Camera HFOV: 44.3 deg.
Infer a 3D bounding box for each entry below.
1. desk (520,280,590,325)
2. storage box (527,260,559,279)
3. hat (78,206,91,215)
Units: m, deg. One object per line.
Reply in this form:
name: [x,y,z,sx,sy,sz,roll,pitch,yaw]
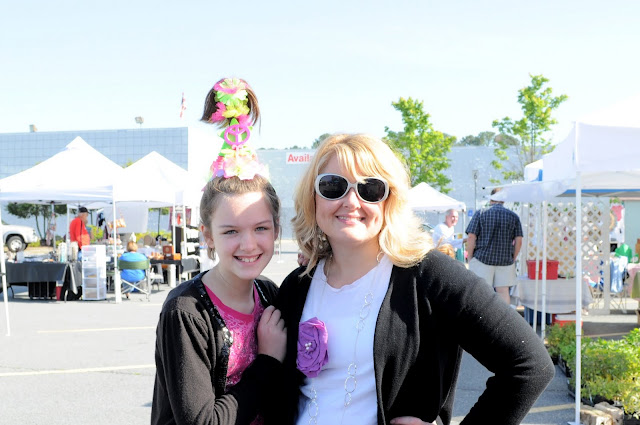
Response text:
desk: [4.726,1.715,16.085,1.053,0.498,1.033,0,1,5]
storage box: [4.585,1.179,16.142,0.603,0.351,0.420,0,-2,20]
hat: [-6.882,-0.055,22.854,0.325,0.273,0.376,-5,1,-5]
